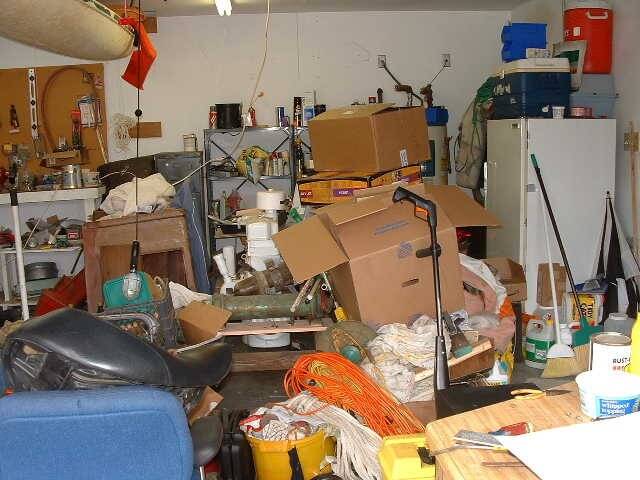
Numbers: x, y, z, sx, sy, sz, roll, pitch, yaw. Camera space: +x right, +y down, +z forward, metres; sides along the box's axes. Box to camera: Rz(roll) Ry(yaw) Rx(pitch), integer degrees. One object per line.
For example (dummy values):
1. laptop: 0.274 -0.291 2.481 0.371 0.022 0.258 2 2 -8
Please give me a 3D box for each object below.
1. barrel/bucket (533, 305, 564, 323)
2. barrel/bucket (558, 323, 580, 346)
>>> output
1. barrel/bucket: 1.653 0.497 3.896 0.126 0.172 0.175 -8 11 -34
2. barrel/bucket: 1.669 0.633 3.607 0.103 0.077 0.148 -1 0 1
